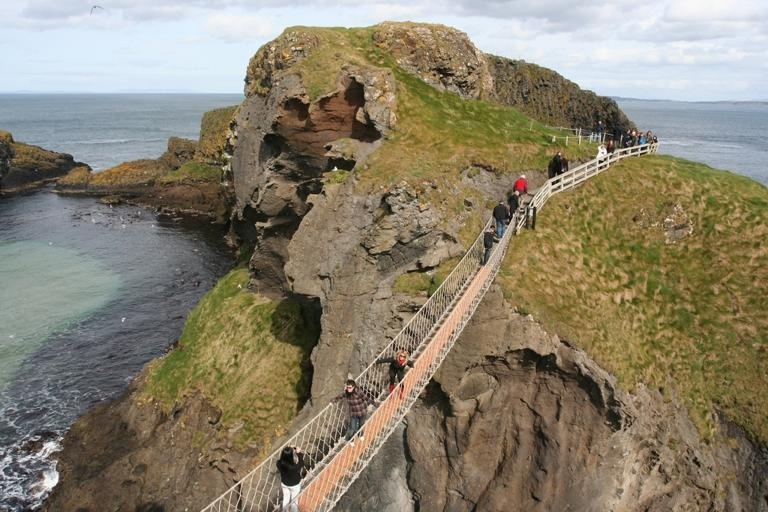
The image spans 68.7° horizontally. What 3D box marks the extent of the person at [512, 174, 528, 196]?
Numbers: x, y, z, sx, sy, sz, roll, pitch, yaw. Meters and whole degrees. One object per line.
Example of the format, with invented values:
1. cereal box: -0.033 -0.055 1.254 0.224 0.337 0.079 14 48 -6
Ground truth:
1. person: 9.620 -4.847 39.205 0.681 1.590 1.113 14 24 24
